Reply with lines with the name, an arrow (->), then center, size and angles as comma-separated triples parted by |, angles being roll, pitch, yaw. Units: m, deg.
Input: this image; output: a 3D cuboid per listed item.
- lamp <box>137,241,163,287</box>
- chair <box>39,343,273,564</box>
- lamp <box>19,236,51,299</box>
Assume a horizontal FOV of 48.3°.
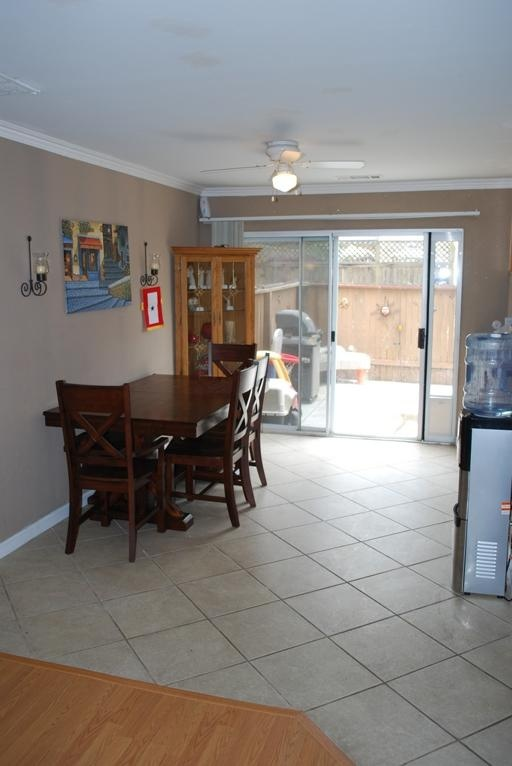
lamp -> -0.873, -0.987, 4.759 | 0.115, 0.382, 0.347 | 1, 8, 5
chair -> -0.503, 0.353, 3.719 | 1.000, 0.983, 1.738 | 2, 8, 15
lamp -> -1.233, -0.655, 3.209 | 0.102, 0.345, 0.236 | 0, 8, 1
